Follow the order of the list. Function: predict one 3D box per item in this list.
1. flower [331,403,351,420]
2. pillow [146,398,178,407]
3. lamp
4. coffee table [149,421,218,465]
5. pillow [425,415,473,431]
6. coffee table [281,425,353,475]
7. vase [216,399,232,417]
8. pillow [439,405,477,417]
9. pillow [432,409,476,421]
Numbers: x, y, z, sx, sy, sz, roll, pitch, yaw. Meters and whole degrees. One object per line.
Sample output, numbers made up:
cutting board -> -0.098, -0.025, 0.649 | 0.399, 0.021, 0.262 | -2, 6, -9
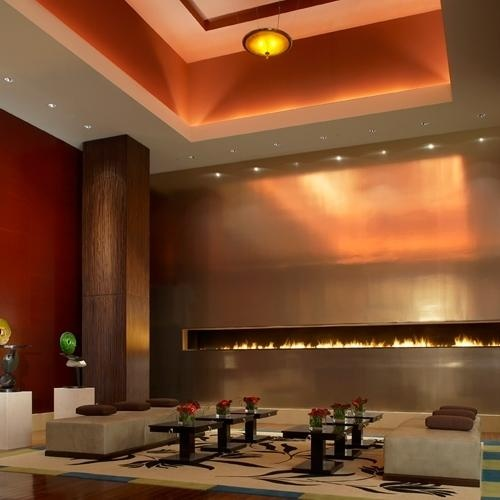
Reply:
flower -> 1.014, 1.792, 5.320 | 0.190, 0.185, 0.296 | -3, -8, 11
pillow -> -1.159, 2.124, 6.739 | 0.235, 0.083, 0.220 | -1, -5, 14
lamp -> 0.207, -2.754, 6.219 | 0.502, 0.686, 0.482 | 0, -5, 31
coffee table -> -0.723, 1.865, 4.891 | 0.491, 0.309, 0.552 | -3, -7, 20
pillow -> 1.845, 1.581, 4.393 | 0.205, 0.074, 0.210 | -4, -6, 11
coffee table -> 0.620, 1.810, 4.502 | 0.524, 0.305, 0.515 | -3, -12, 16
vase -> -0.316, 1.824, 5.611 | 0.203, 0.189, 0.201 | -5, -10, 26
pillow -> 2.315, 1.816, 5.317 | 0.383, 0.097, 0.376 | -2, -6, 18
pillow -> 2.083, 1.684, 4.893 | 0.343, 0.088, 0.336 | -2, -3, 14
